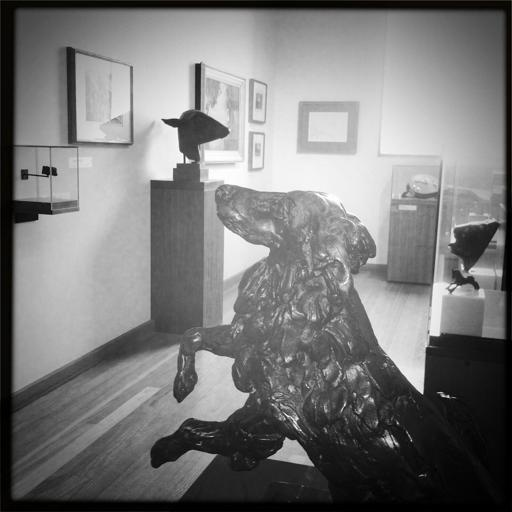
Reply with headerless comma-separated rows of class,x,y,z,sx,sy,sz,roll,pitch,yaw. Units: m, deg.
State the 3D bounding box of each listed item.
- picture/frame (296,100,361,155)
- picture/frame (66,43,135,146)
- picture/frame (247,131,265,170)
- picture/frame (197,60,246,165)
picture/frame,0.222,-0.397,1.320,0.150,0.191,0.041,2,-1,17
picture/frame,-0.487,-0.499,1.386,0.186,0.292,0.031,-9,46,-31
picture/frame,0.003,-0.332,1.363,0.051,0.117,0.010,-8,16,-36
picture/frame,-0.108,-0.452,1.314,0.034,0.411,0.236,3,4,41
